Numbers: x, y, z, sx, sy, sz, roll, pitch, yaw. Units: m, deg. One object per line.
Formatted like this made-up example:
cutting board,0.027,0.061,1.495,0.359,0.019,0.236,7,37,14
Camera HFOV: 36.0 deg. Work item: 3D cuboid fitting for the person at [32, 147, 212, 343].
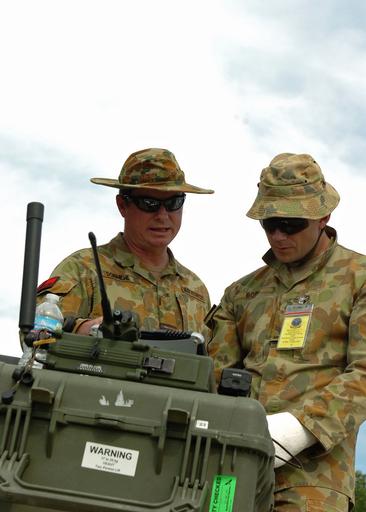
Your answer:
person,-0.356,-0.175,4.587,1.574,1.545,0.816,8,-10,-21

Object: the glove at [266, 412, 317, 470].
glove,0.600,1.061,3.227,0.220,0.310,0.422,-2,-11,37
